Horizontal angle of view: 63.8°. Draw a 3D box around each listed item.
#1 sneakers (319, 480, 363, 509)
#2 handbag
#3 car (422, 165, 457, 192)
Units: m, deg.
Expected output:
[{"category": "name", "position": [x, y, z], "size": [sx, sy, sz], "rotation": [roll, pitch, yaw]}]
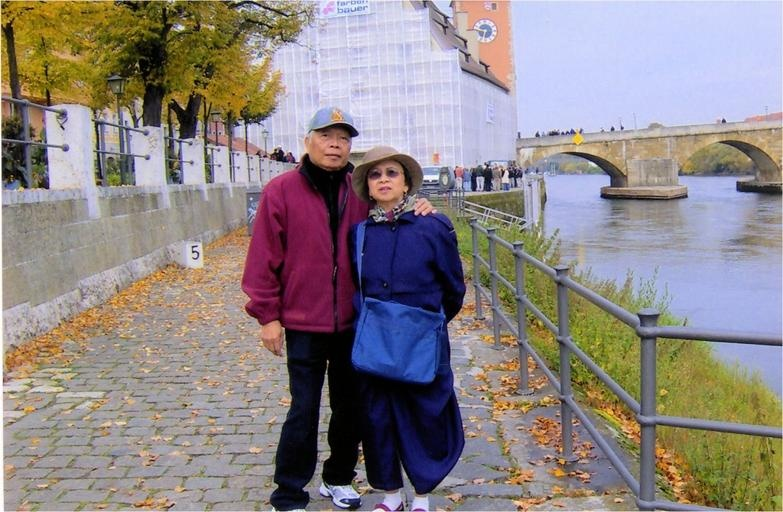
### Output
[{"category": "sneakers", "position": [-0.410, 1.850, 4.959], "size": [0.316, 0.146, 0.138], "rotation": [5, 5, 33]}, {"category": "handbag", "position": [0.052, 0.603, 4.436], "size": [0.538, 0.464, 0.210], "rotation": [10, -11, 5]}, {"category": "car", "position": [2.960, -5.448, 42.492], "size": [2.564, 1.927, 5.685], "rotation": [0, 3, 8]}]
